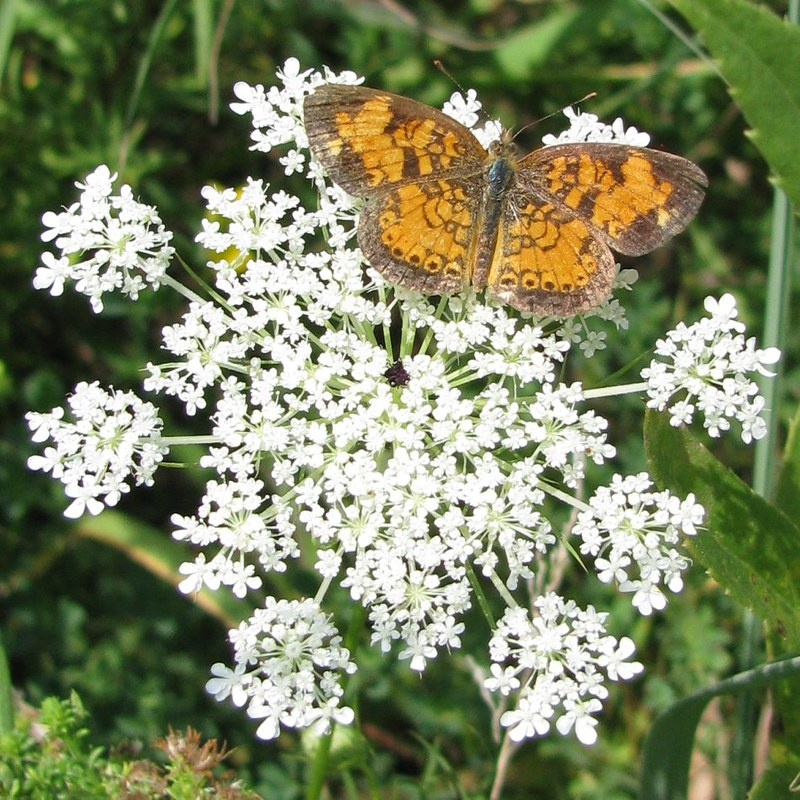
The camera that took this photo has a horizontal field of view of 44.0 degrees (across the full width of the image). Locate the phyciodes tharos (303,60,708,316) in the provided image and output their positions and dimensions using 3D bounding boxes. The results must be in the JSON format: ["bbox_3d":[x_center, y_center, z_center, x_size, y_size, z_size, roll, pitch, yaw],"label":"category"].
[{"bbox_3d":[0.353,-0.760,3.936,1.555,0.482,0.734,11,76,1],"label":"phyciodes tharos"}]

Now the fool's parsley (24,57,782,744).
[{"bbox_3d":[0.014,0.132,4.757,2.640,3.359,3.475,-1,104,2],"label":"fool's parsley"}]
